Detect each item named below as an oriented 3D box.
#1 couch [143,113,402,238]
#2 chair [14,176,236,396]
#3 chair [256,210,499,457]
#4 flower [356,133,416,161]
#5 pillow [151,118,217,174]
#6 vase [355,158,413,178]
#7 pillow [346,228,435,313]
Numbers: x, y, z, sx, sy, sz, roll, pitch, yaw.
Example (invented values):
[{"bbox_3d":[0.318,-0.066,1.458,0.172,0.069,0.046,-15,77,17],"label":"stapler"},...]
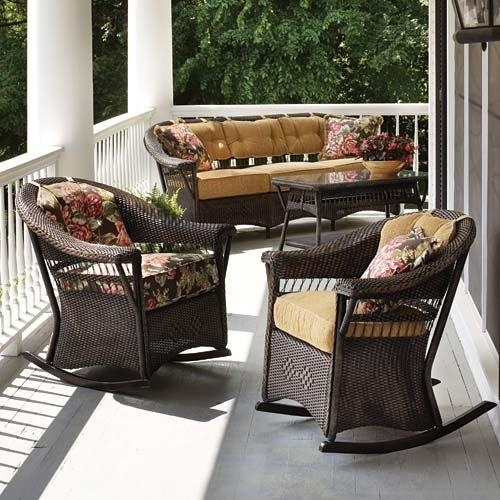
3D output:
[{"bbox_3d":[0.325,-0.875,5.527,2.658,0.930,0.947,-9,30,-26],"label":"couch"},{"bbox_3d":[-0.629,0.107,2.501,0.959,0.720,0.814,20,19,38],"label":"chair"},{"bbox_3d":[0.394,0.270,1.872,0.635,0.778,0.671,-10,13,-35],"label":"chair"},{"bbox_3d":[1.183,-0.863,4.464,0.352,0.157,0.341,2,7,34],"label":"flower"},{"bbox_3d":[-0.692,-0.974,5.055,0.551,0.454,0.160,-15,-16,-49],"label":"pillow"},{"bbox_3d":[1.163,-0.712,4.538,0.405,0.131,0.353,-1,6,-6],"label":"vase"},{"bbox_3d":[0.486,0.065,1.703,0.245,0.242,0.314,1,10,17],"label":"pillow"}]
